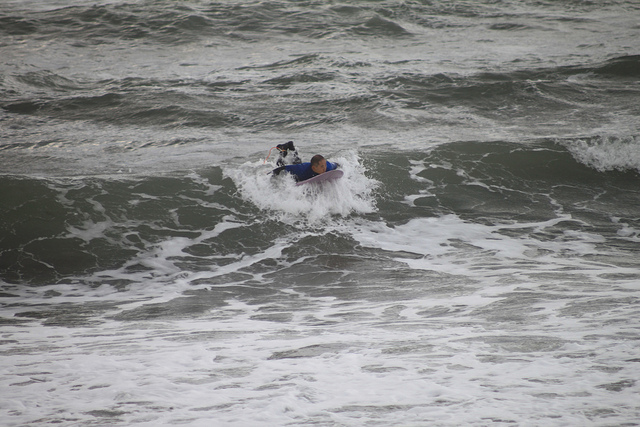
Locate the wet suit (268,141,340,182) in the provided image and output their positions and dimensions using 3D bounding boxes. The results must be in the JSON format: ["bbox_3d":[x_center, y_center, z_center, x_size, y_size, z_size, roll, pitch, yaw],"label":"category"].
[{"bbox_3d":[-0.642,-1.479,23.411,2.168,0.419,1.383,-11,41,-13],"label":"wet suit"}]

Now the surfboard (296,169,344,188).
[{"bbox_3d":[0.037,-0.949,23.133,1.695,0.129,0.443,-9,-16,34],"label":"surfboard"}]
